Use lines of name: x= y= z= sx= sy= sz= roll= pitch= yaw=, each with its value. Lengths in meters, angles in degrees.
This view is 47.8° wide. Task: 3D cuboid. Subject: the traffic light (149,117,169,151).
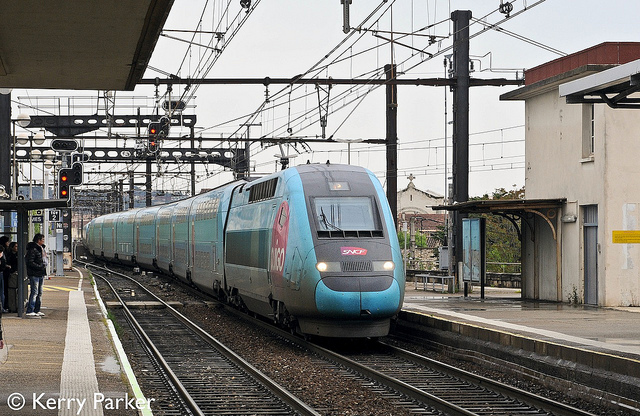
traffic light: x=-7.059 y=-3.215 z=31.098 sx=0.882 sy=1.392 sz=0.420 roll=7 pitch=12 yaw=-6

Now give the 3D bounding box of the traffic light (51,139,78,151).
traffic light: x=-10.595 y=-2.652 z=29.938 sx=0.937 sy=0.492 sz=0.758 roll=-1 pitch=-1 yaw=-27

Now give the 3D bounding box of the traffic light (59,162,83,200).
traffic light: x=-8.694 y=-1.008 z=25.070 sx=0.626 sy=1.370 sz=1.590 roll=-1 pitch=0 yaw=-6
